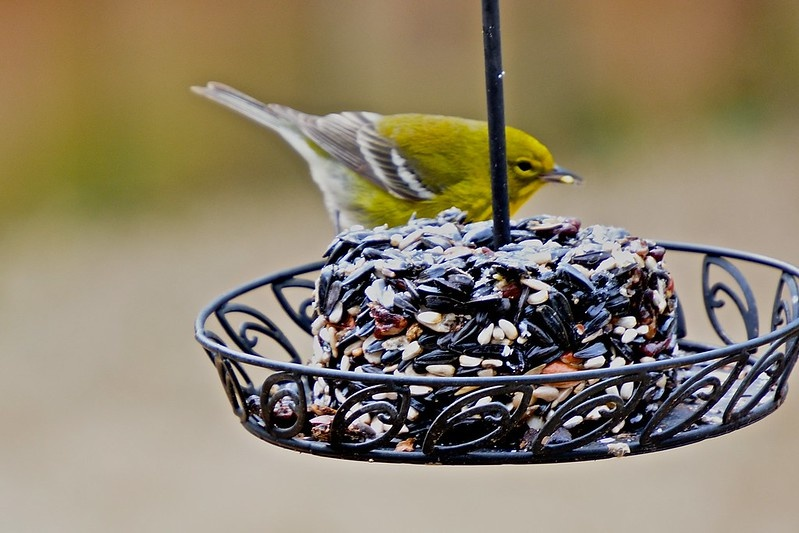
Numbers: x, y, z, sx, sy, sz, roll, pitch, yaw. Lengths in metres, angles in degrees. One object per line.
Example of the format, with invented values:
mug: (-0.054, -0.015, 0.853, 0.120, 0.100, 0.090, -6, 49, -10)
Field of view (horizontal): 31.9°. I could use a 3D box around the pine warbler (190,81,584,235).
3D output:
pine warbler: (-0.122, -0.429, 5.935, 1.574, 0.517, 0.665, 22, -67, 16)
